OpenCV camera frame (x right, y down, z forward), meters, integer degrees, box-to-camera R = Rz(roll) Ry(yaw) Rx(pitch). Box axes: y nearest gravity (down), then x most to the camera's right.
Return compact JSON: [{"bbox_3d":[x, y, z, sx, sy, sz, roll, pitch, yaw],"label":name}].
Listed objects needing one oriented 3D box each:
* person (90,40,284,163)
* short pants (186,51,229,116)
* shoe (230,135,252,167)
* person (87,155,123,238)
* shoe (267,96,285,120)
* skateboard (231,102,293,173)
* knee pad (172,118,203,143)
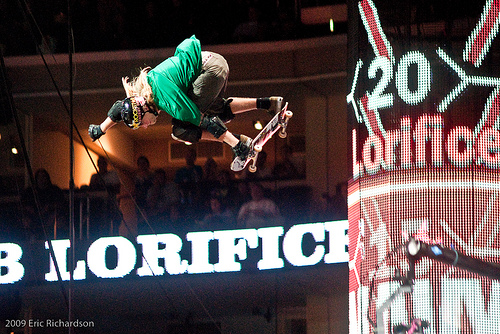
[{"bbox_3d":[-0.532,-0.762,10.381,1.924,1.123,1.245,-1,13,10],"label":"person"},{"bbox_3d":[-0.367,-0.828,10.010,0.255,0.611,0.508,-8,-5,42],"label":"short pants"},{"bbox_3d":[-0.105,-0.170,10.042,0.094,0.261,0.193,14,7,-7],"label":"shoe"},{"bbox_3d":[-1.612,0.320,11.344,0.349,0.915,0.087,-4,-4,-10],"label":"person"},{"bbox_3d":[0.281,-0.602,10.174,0.125,0.196,0.073,-4,-9,34],"label":"shoe"},{"bbox_3d":[0.117,-0.303,10.033,0.158,0.349,0.976,17,54,38],"label":"skateboard"},{"bbox_3d":[-0.604,-0.320,10.043,0.175,0.083,0.220,30,-48,-22],"label":"knee pad"}]
